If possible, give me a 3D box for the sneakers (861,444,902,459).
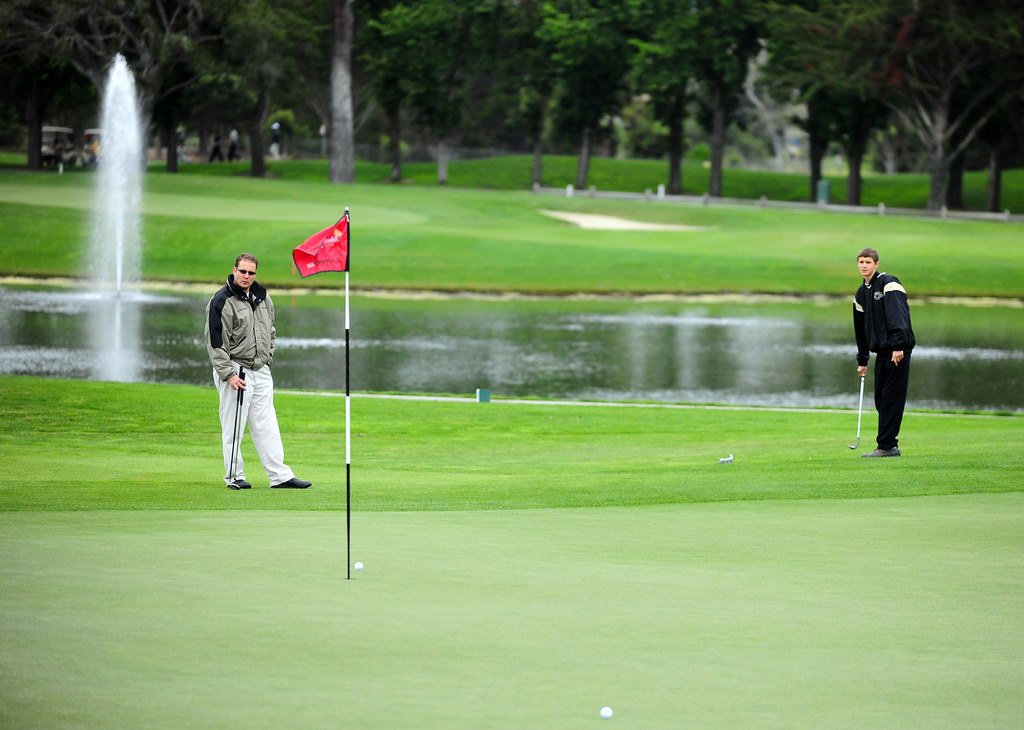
[{"bbox_3d":[4.955,1.150,29.215,0.530,0.194,0.173,1,-1,3],"label":"sneakers"}]

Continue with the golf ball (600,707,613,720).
[{"bbox_3d":[1.004,3.753,23.458,0.146,0.125,0.085,0,5,-3],"label":"golf ball"}]

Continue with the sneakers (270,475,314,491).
[{"bbox_3d":[-2.875,1.507,28.078,0.504,0.186,0.177,1,5,-6],"label":"sneakers"}]

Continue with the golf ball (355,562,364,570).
[{"bbox_3d":[-1.824,2.349,25.531,0.084,0.027,0.082,0,12,0],"label":"golf ball"}]

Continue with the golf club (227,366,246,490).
[{"bbox_3d":[-3.582,0.934,27.848,0.208,1.265,0.097,0,5,-3],"label":"golf club"}]

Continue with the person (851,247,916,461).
[{"bbox_3d":[4.956,-0.032,29.082,0.790,2.515,0.370,2,5,18],"label":"person"}]

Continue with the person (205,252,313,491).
[{"bbox_3d":[-3.400,0.054,27.999,1.119,3.027,0.721,-1,5,-9],"label":"person"}]

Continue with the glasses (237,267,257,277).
[{"bbox_3d":[-3.409,-1.210,27.704,0.121,0.113,0.035,9,44,-11],"label":"glasses"}]

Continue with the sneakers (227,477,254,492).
[{"bbox_3d":[-3.551,1.522,27.892,0.250,0.104,0.135,-2,4,16],"label":"sneakers"}]
